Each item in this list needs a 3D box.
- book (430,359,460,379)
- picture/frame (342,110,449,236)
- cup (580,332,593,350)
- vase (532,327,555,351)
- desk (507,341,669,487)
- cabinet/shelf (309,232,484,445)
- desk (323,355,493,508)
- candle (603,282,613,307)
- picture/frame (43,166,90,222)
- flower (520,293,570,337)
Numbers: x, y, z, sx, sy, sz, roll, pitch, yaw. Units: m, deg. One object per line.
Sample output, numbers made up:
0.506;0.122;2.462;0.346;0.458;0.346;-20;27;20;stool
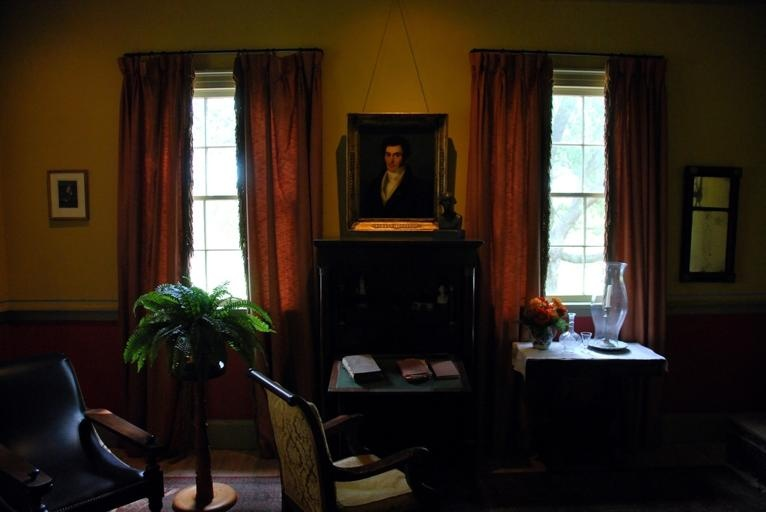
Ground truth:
0.522;0.939;5.610;0.148;0.035;0.146;-1;23;-11;book
0.131;-0.743;6.136;1.121;1.317;0.136;0;3;-2;picture/frame
1.847;0.770;6.164;0.121;0.173;0.121;1;-3;0;cup
1.409;0.724;5.946;0.194;0.220;0.200;1;-4;9;vase
1.879;1.367;6.358;1.524;1.463;1.138;0;-1;0;desk
0.129;0.711;5.792;1.841;2.433;1.009;0;2;-1;cabinet/shelf
0.200;1.327;6.021;1.485;1.400;1.036;-1;9;-1;desk
1.995;0.344;5.940;0.061;0.199;0.033;1;5;10;candle
-2.998;-0.602;6.408;0.521;0.637;0.043;0;3;-3;picture/frame
1.489;0.539;6.101;0.439;0.337;0.414;-5;3;-35;flower
